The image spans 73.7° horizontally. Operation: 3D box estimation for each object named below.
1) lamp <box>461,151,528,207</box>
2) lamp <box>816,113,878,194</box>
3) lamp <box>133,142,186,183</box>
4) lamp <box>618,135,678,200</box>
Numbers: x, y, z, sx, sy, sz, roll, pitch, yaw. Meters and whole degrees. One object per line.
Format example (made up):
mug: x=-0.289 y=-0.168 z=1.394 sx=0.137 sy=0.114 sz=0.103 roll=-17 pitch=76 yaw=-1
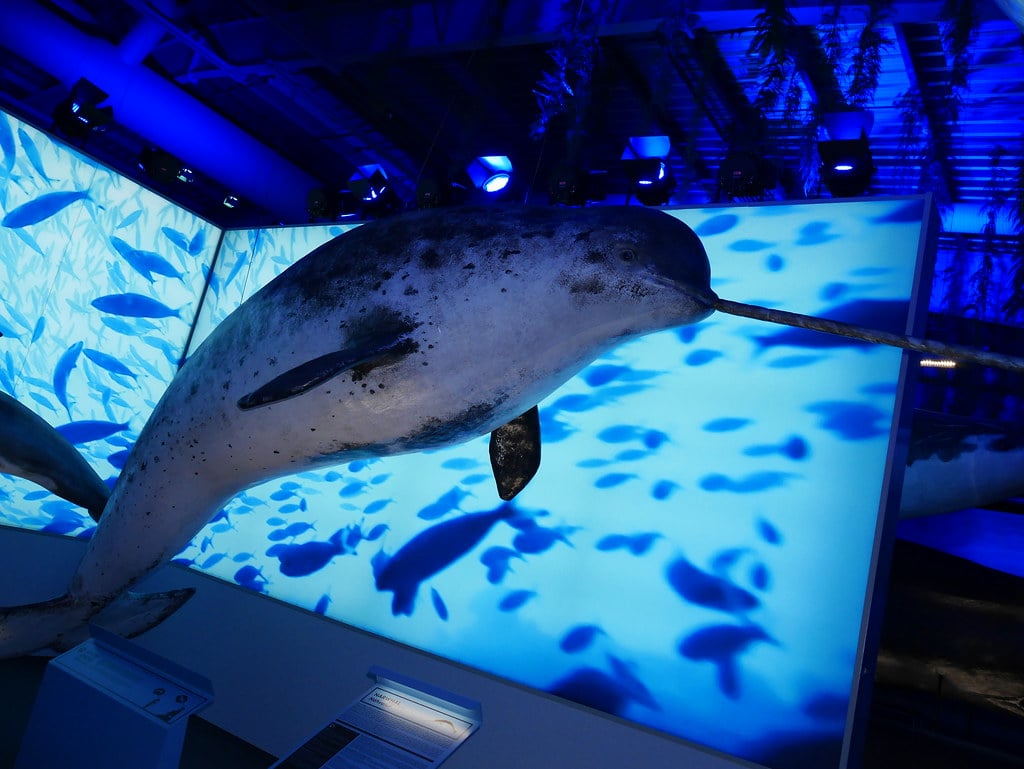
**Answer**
lamp: x=-0.182 y=-1.818 z=6.048 sx=0.509 sy=0.260 sz=0.604 roll=0 pitch=-61 yaw=11
lamp: x=2.422 y=-1.602 z=4.813 sx=0.441 sy=0.501 sz=0.526 roll=20 pitch=-63 yaw=34
lamp: x=-3.389 y=-2.121 z=6.618 sx=0.472 sy=0.226 sz=0.180 roll=29 pitch=6 yaw=-40
lamp: x=1.049 y=-1.720 z=5.457 sx=0.407 sy=0.517 sz=0.395 roll=-3 pitch=22 yaw=-11
